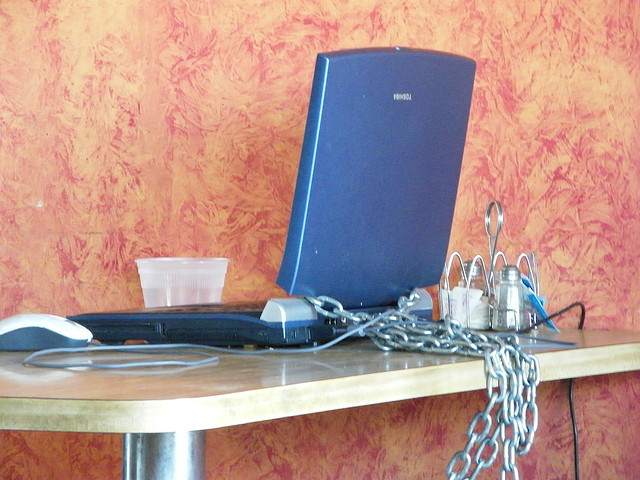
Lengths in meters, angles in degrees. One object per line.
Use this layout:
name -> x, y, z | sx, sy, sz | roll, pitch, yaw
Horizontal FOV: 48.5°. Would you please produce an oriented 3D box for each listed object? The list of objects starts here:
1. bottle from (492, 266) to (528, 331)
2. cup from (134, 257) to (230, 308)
bottle -> 0.412, 0.135, 1.551 | 0.074, 0.145, 0.075 | 2, -2, 0
cup -> -0.302, 0.106, 1.603 | 0.158, 0.120, 0.181 | 0, -5, 29
